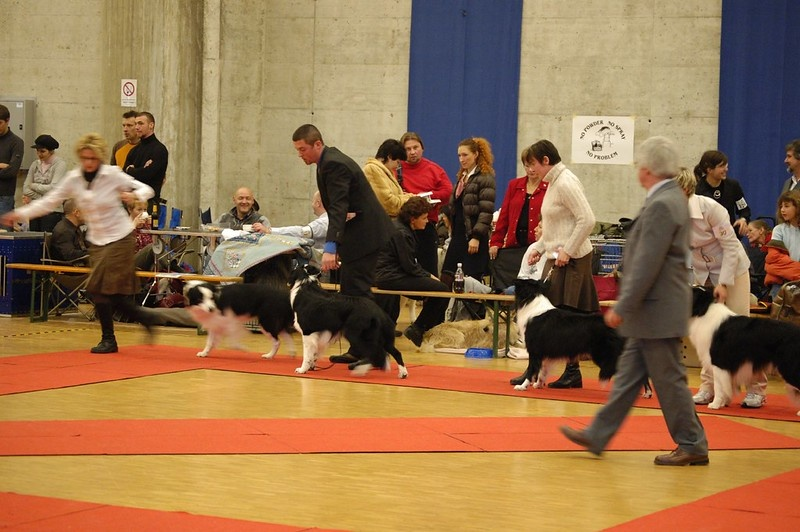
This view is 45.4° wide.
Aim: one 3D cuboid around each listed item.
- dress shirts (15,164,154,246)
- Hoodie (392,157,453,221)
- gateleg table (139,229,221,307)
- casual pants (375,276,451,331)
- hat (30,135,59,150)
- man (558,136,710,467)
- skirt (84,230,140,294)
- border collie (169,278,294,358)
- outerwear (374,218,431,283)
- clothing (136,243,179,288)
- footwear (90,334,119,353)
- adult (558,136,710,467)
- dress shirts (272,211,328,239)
[{"bbox_3d":[-2.880,-0.527,8.887,1.234,0.779,0.756,-9,-2,-9],"label":"dress shirts"},{"bbox_3d":[0.237,-0.871,11.095,0.887,0.850,0.506,-5,13,7],"label":"Hoodie"},{"bbox_3d":[-2.651,-0.002,11.626,1.256,0.890,1.281,-1,6,-43],"label":"gateleg table"},{"bbox_3d":[0.124,0.379,10.407,0.564,0.505,1.017,-9,12,-42],"label":"casual pants"},{"bbox_3d":[-4.588,-1.581,12.416,0.326,0.165,0.249,8,-5,-37],"label":"hat"},{"bbox_3d":[1.773,0.269,6.685,0.893,2.284,0.430,4,10,14],"label":"man"},{"bbox_3d":[-2.739,-0.067,9.262,0.632,0.782,0.515,-1,7,-28],"label":"skirt"},{"bbox_3d":[-1.608,0.549,9.445,1.270,0.722,0.443,4,-4,-30],"label":"border collie"},{"bbox_3d":[0.036,-0.171,10.458,0.651,0.699,0.631,1,12,-7],"label":"outerwear"},{"bbox_3d":[-2.748,-0.017,11.352,0.787,0.454,0.327,5,1,4],"label":"clothing"},{"bbox_3d":[-2.905,0.798,9.481,0.296,0.150,0.125,5,-4,-38],"label":"footwear"},{"bbox_3d":[1.710,0.265,6.940,0.833,2.299,1.072,-4,5,-45],"label":"adult"},{"bbox_3d":[-1.130,-0.430,11.053,0.546,0.203,0.409,2,-3,-4],"label":"dress shirts"}]
